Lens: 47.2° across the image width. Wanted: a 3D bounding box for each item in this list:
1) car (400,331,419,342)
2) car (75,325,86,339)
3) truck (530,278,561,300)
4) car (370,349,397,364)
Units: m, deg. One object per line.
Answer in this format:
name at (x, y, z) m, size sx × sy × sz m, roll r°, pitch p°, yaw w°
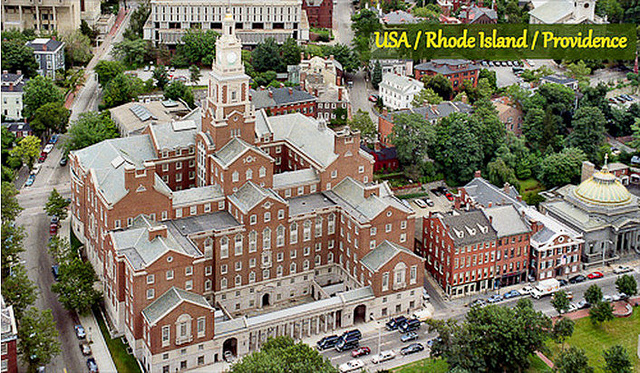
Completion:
car at (21.117, 35.358, 172.260) m, size 3.982 × 1.266 × 1.760 m, roll -17°, pitch 44°, yaw -19°
car at (-55.139, 33.574, 169.033) m, size 1.713 × 0.827 × 2.764 m, roll -6°, pitch 67°, yaw -43°
truck at (56.713, 25.465, 184.944) m, size 6.680 × 3.143 × 4.029 m, roll -12°, pitch 28°, yaw -11°
car at (14.517, 38.825, 167.393) m, size 5.365 × 1.626 × 2.531 m, roll -12°, pitch 44°, yaw -11°
